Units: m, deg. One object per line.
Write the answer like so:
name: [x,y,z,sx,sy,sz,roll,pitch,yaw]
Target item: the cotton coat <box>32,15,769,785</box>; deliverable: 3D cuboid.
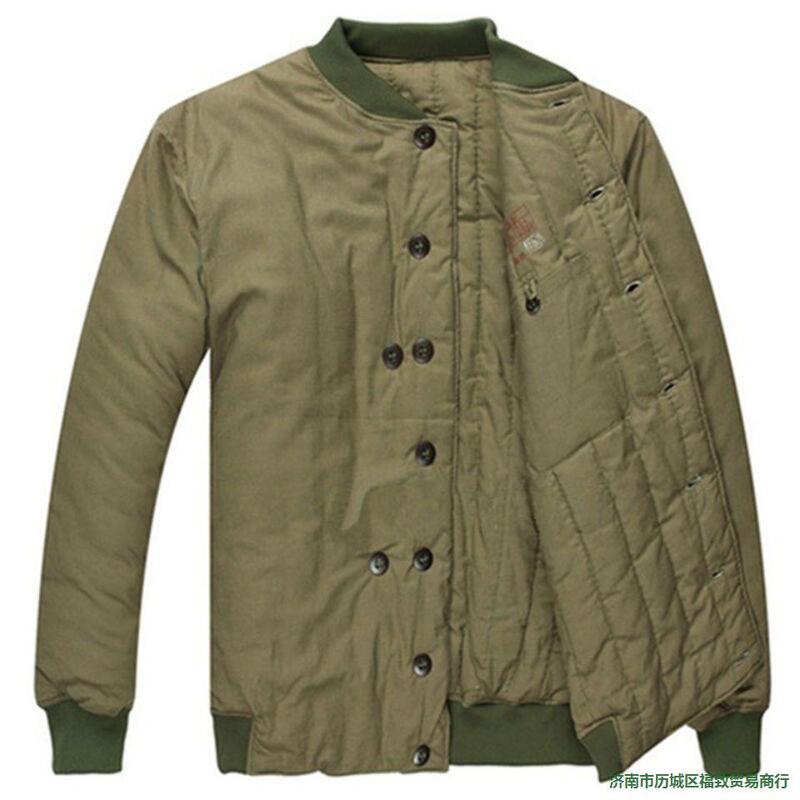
cotton coat: [-0.017,0.028,2.003,1.130,1.212,0.120,-1,4,-9]
